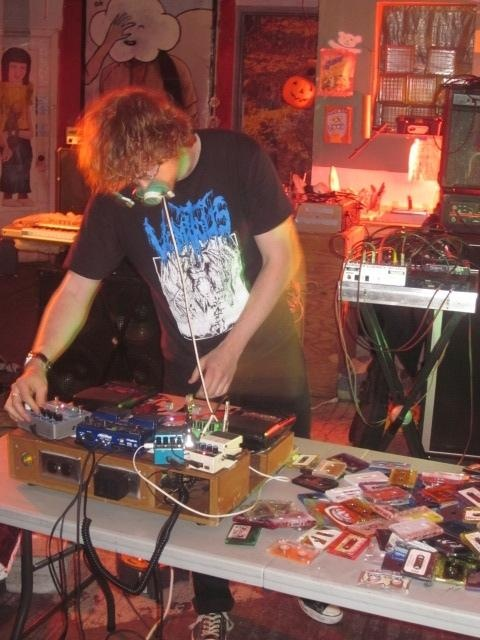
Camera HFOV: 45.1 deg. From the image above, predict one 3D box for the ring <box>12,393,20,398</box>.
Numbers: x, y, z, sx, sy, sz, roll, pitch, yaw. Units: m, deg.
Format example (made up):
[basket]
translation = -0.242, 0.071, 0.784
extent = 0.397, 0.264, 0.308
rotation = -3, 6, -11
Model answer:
[ring]
translation = -0.506, 0.173, 1.309
extent = 0.010, 0.009, 0.010
rotation = -7, 1, 0

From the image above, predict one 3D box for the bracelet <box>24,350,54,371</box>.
[bracelet]
translation = -0.509, 0.099, 1.448
extent = 0.022, 0.051, 0.055
rotation = -40, -13, 4

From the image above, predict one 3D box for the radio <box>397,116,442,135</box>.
[radio]
translation = 1.745, -1.906, 5.640
extent = 0.406, 0.218, 0.230
rotation = 2, 10, 15

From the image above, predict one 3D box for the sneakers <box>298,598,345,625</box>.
[sneakers]
translation = 0.278, 0.977, 1.948
extent = 0.124, 0.041, 0.071
rotation = -2, 1, 36
